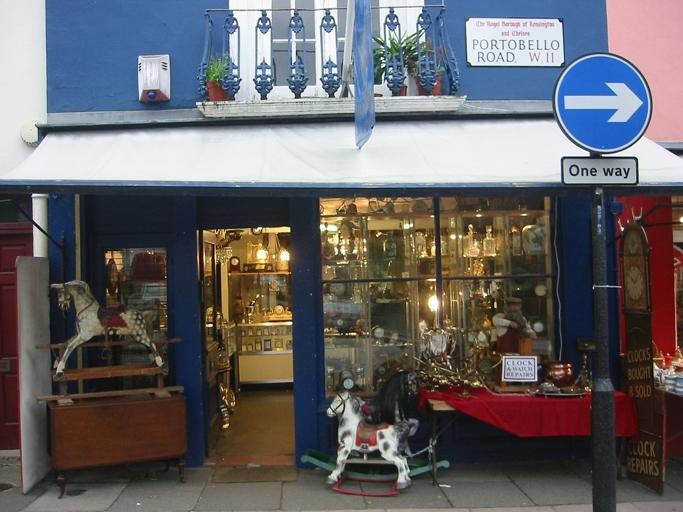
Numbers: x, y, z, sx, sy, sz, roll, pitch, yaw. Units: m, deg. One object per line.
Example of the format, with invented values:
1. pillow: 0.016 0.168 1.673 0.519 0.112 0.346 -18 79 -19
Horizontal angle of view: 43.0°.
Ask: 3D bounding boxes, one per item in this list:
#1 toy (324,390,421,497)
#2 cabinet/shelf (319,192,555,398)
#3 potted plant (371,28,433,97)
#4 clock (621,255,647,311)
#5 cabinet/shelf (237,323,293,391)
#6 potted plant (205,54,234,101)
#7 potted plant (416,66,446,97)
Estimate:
1. toy: 0.435 2.511 11.148 1.013 1.173 0.456 1 -1 8
2. cabinet/shelf: 1.165 0.637 11.736 2.217 2.538 0.843 0 -1 2
3. potted plant: 0.682 -2.813 11.703 0.695 0.997 0.857 -13 17 -32
4. clock: 3.756 0.366 11.085 0.050 0.539 0.450 -2 1 -24
5. cabinet/shelf: -1.376 1.886 15.352 1.283 1.483 0.495 0 -4 -4
6. potted plant: -1.636 -2.384 11.684 0.504 0.754 0.491 0 -5 -8
7. potted plant: 1.198 -2.391 11.680 0.280 0.350 0.325 0 -1 1
